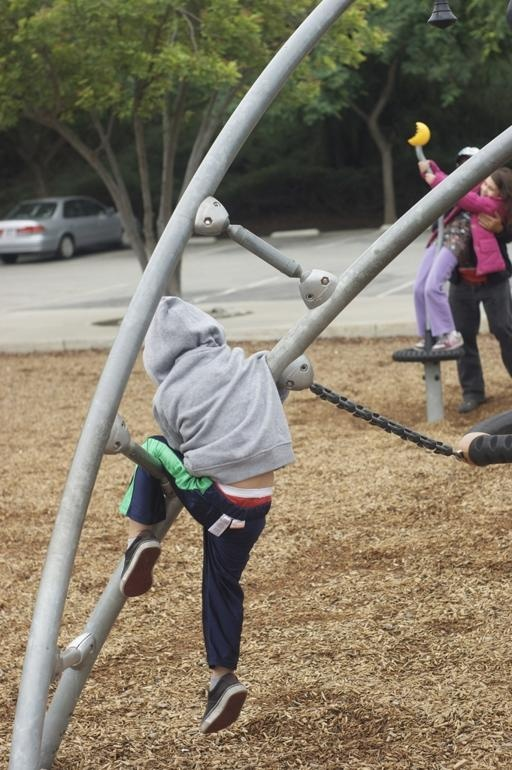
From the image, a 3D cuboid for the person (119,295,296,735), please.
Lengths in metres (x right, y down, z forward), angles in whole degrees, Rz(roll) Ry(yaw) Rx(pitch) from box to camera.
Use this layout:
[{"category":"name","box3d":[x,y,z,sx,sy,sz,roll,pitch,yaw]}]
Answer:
[{"category":"person","box3d":[-0.130,0.392,3.372,0.454,1.280,0.230,4,8,11]}]

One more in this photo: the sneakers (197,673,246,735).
[{"category":"sneakers","box3d":[-0.092,0.914,3.415,0.102,0.210,0.083,6,39,-33]}]

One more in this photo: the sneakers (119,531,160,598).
[{"category":"sneakers","box3d":[-0.329,0.509,3.382,0.104,0.198,0.088,1,34,-28]}]

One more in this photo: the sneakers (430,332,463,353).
[{"category":"sneakers","box3d":[1.089,-0.248,6.631,0.247,0.095,0.080,-4,2,-38]}]
